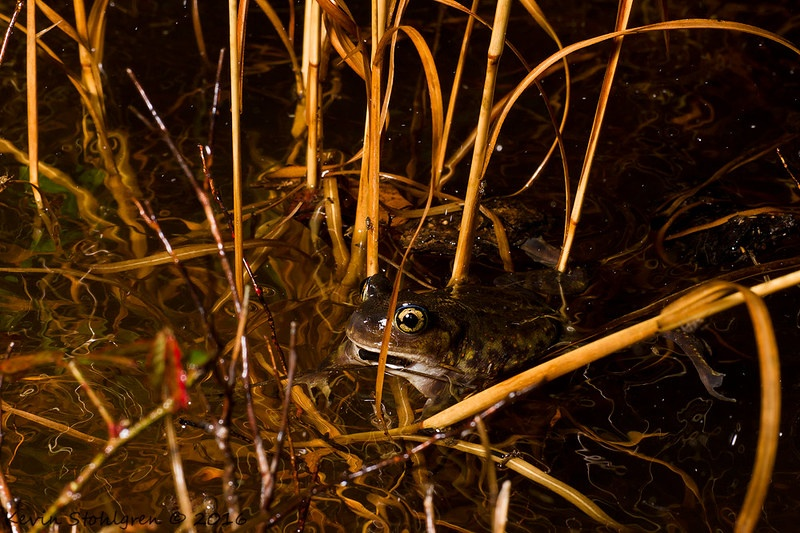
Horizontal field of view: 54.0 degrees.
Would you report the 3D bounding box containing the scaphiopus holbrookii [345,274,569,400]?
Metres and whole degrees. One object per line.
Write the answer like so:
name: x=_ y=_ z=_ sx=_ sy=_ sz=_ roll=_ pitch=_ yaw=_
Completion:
scaphiopus holbrookii: x=0.255 y=0.282 z=3.436 sx=0.832 sy=0.285 sz=0.596 roll=-15 pitch=34 yaw=-30
